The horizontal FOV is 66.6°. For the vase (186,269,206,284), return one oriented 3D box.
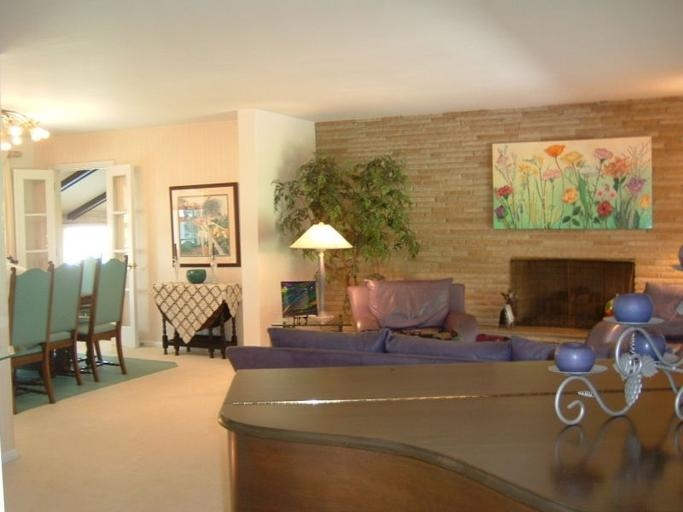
[{"bbox_3d":[-1.805,0.277,6.455,0.192,0.129,0.187,0,-5,-15],"label":"vase"}]

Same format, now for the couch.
[{"bbox_3d":[0.181,0.402,2.313,1.408,0.156,0.415,-3,3,0],"label":"couch"}]

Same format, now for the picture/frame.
[{"bbox_3d":[-1.781,-0.382,6.668,1.053,1.021,0.024,2,8,23],"label":"picture/frame"}]

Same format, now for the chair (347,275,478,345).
[{"bbox_3d":[0.690,0.734,5.162,1.177,0.821,0.808,-1,9,3],"label":"chair"}]

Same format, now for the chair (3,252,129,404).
[{"bbox_3d":[-2.604,0.735,4.955,0.524,1.073,1.428,0,0,17],"label":"chair"}]

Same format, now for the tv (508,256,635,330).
[{"bbox_3d":[2.674,0.442,6.220,1.447,0.829,0.078,1,1,-3],"label":"tv"}]

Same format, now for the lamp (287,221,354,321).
[{"bbox_3d":[-0.231,0.198,5.572,0.723,1.038,0.732,-1,1,-45],"label":"lamp"}]

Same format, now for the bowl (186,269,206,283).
[{"bbox_3d":[-1.802,0.261,6.438,0.185,0.124,0.180,-1,-5,0],"label":"bowl"}]
